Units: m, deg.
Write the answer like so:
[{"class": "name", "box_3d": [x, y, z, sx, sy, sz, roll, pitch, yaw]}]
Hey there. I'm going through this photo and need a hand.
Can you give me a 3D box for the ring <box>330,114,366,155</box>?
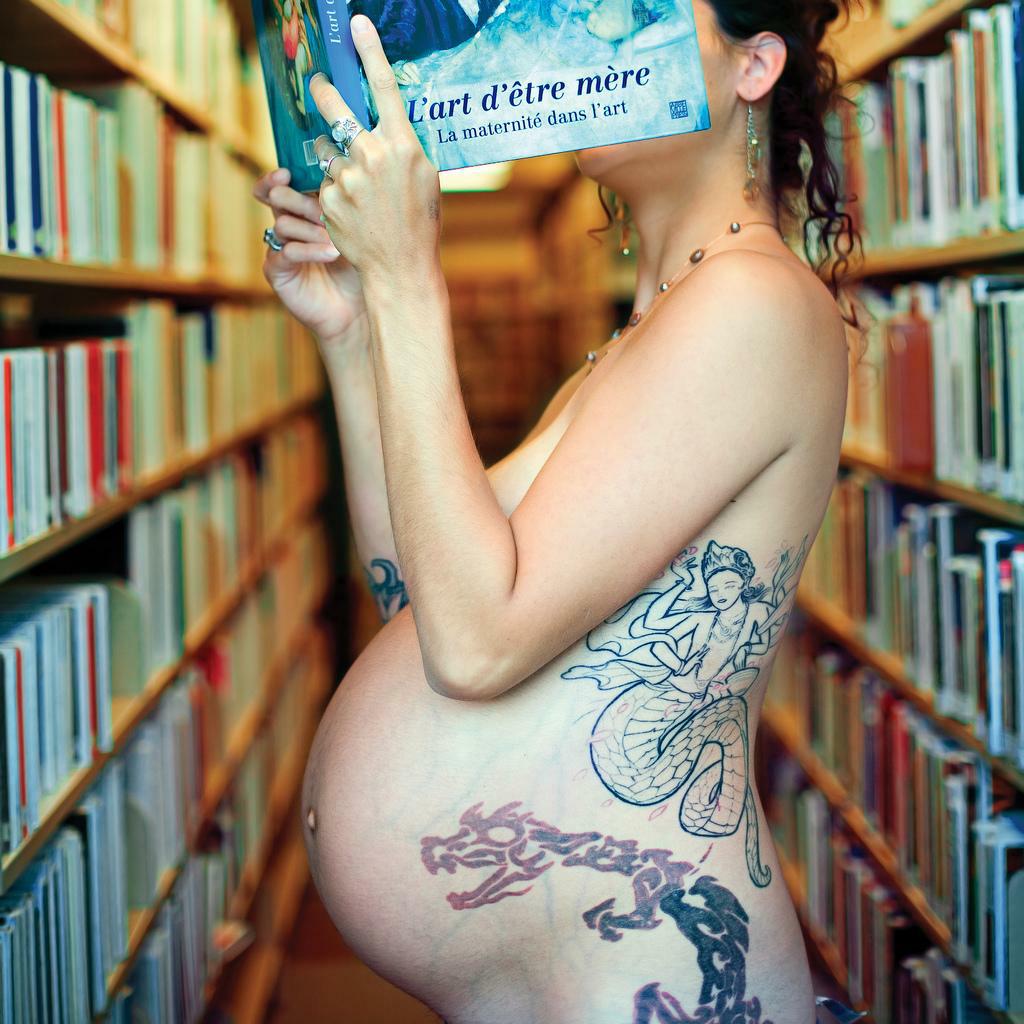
[{"class": "ring", "box_3d": [-0.140, -0.326, 0.979, 0.025, 0.028, 0.033, -2, -101, -25]}]
